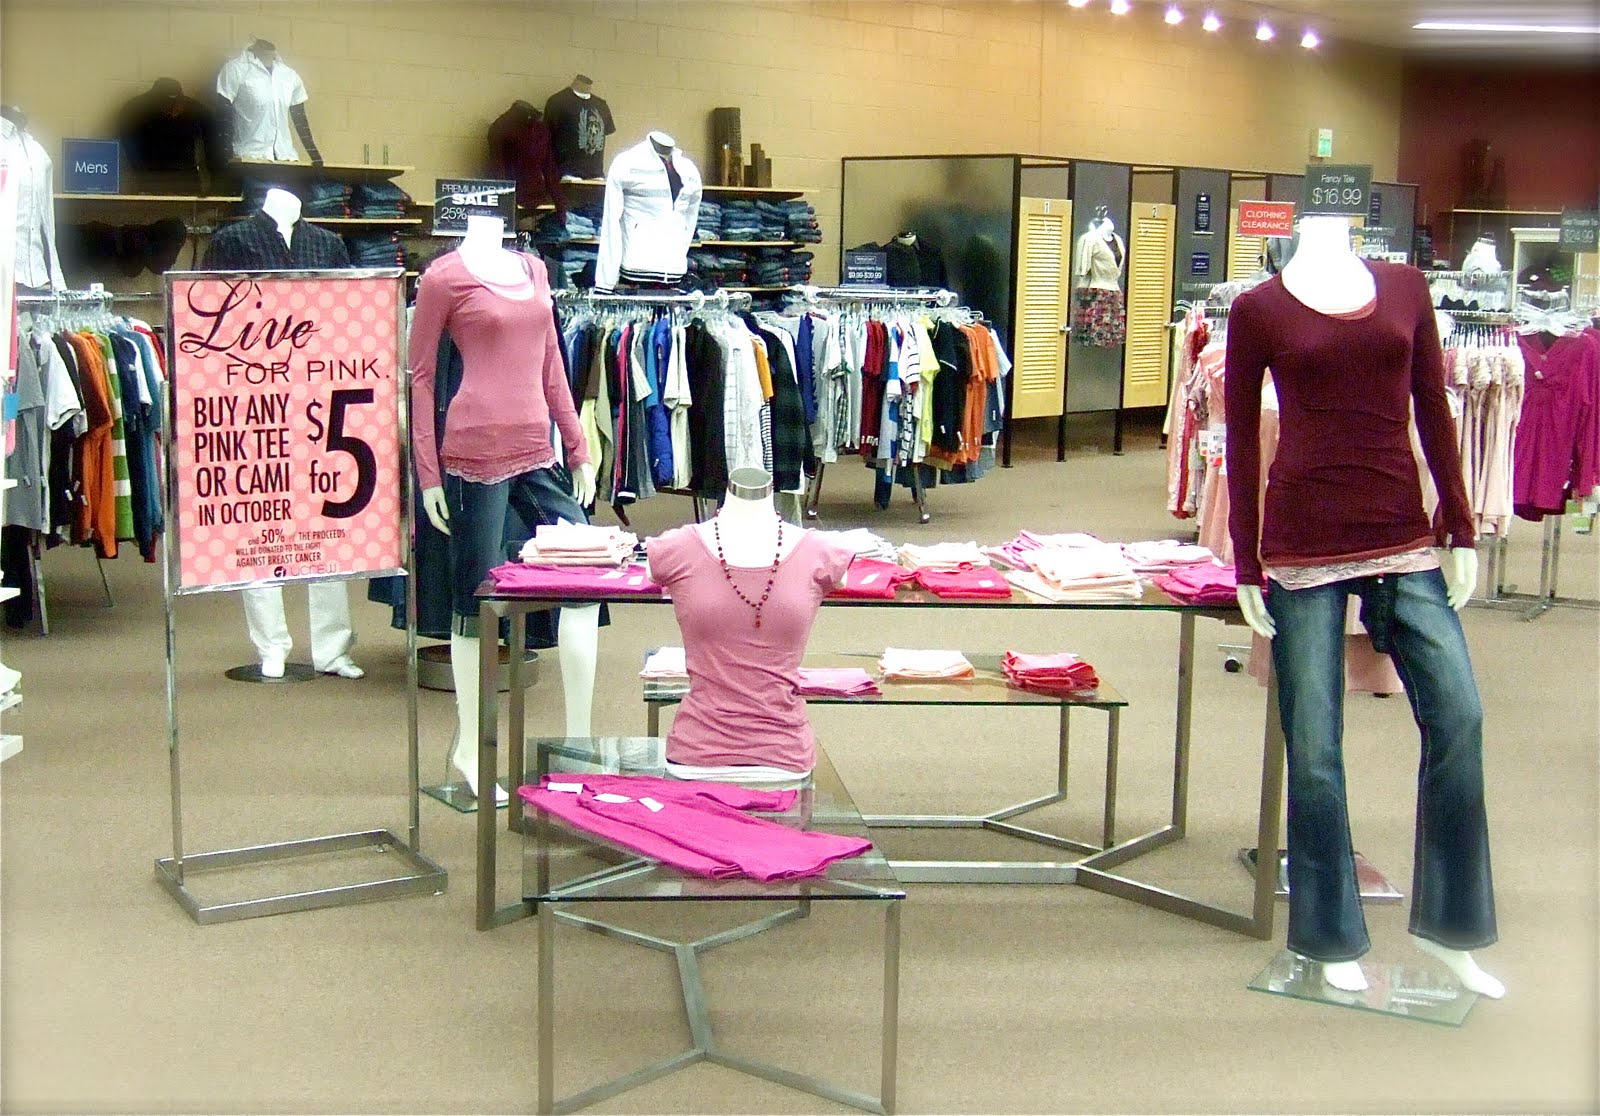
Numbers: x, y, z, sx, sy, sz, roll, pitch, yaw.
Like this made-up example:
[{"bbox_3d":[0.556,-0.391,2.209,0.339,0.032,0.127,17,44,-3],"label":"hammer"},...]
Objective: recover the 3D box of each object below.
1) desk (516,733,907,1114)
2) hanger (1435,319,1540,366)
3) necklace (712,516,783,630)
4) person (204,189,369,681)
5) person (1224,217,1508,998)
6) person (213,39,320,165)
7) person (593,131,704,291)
[{"bbox_3d":[-0.192,0.754,3.492,0.752,0.579,1.217,2,8,-1],"label":"desk"},{"bbox_3d":[3.212,-1.051,7.121,0.508,0.168,0.513,6,12,39],"label":"hanger"},{"bbox_3d":[-0.125,0.036,3.695,0.173,0.242,0.107,-3,12,-3],"label":"necklace"},{"bbox_3d":[-1.984,-0.460,5.871,0.553,1.967,1.502,-7,13,-20],"label":"person"},{"bbox_3d":[1.438,0.138,3.768,0.733,1.974,0.433,1,13,14],"label":"person"},{"bbox_3d":[-3.507,-2.954,9.674,0.428,0.953,0.814,12,18,39],"label":"person"},{"bbox_3d":[-0.918,-2.052,8.795,0.671,0.886,0.313,-6,13,-19],"label":"person"}]
